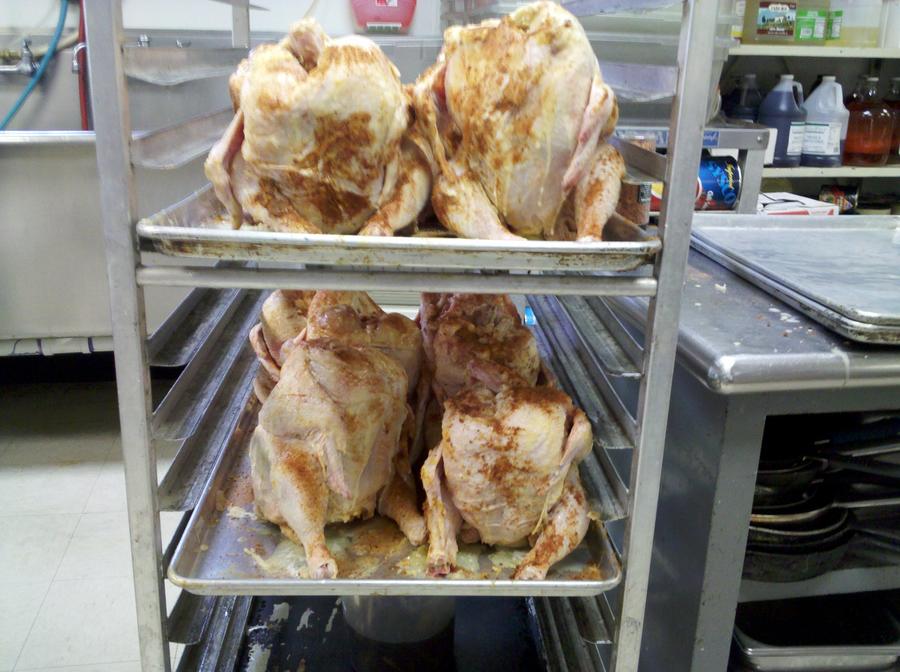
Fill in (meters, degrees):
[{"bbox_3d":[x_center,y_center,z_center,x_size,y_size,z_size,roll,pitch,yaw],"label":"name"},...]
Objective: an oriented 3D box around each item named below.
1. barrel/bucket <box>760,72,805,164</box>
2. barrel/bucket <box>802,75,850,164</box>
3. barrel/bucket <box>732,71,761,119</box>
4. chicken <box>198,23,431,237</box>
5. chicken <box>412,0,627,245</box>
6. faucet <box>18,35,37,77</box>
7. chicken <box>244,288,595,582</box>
[{"bbox_3d":[1.699,-1.082,3.281,0.250,0.427,0.120,-4,20,-6],"label":"barrel/bucket"},{"bbox_3d":[1.922,-1.092,3.320,0.241,0.435,0.162,5,21,16],"label":"barrel/bucket"},{"bbox_3d":[1.545,-1.243,3.381,0.128,0.215,0.364,8,24,23],"label":"barrel/bucket"},{"bbox_3d":[-0.209,-0.312,0.998,0.265,0.258,0.393,-2,43,-8],"label":"chicken"},{"bbox_3d":[0.119,-0.350,1.014,0.311,0.478,0.172,-6,-2,0],"label":"chicken"},{"bbox_3d":[-2.019,-1.332,3.092,0.090,0.059,0.143,-8,68,-6],"label":"faucet"},{"bbox_3d":[-0.063,0.170,1.291,0.650,0.402,0.528,-2,22,-2],"label":"chicken"}]
